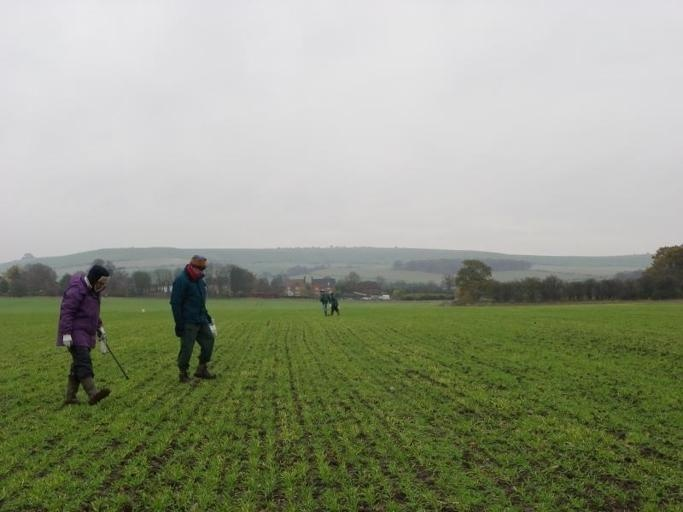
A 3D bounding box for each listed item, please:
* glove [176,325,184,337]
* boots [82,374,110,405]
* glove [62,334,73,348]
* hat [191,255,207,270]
[{"bbox_3d":[-4.407,2.034,14.229,0.209,0.304,0.259,-1,-2,-19],"label":"glove"},{"bbox_3d":[-6.081,3.336,12.940,0.704,0.734,0.351,-25,-12,6],"label":"boots"},{"bbox_3d":[-6.533,2.019,12.448,0.209,0.251,0.258,6,-11,-40],"label":"glove"},{"bbox_3d":[-4.092,0.180,14.894,0.451,0.500,0.371,1,5,12],"label":"hat"}]
